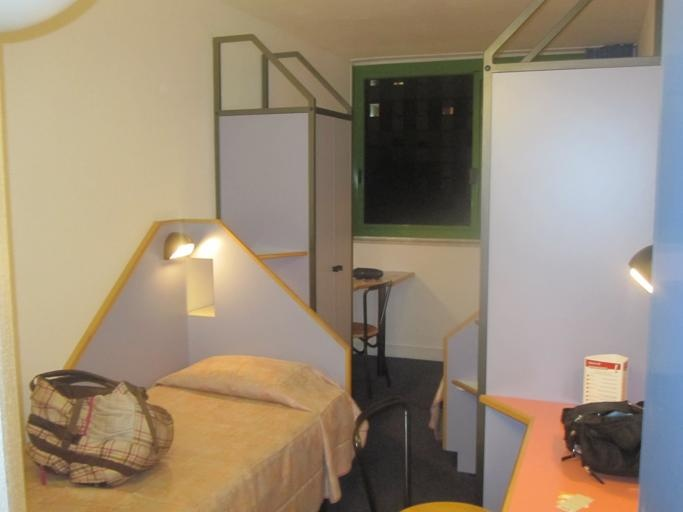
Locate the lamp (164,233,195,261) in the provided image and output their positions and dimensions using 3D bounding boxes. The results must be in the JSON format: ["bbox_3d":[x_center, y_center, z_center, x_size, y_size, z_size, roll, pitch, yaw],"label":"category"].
[{"bbox_3d":[-0.899,-0.050,3.128,0.047,0.138,0.149,3,-2,41],"label":"lamp"}]

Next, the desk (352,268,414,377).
[{"bbox_3d":[0.384,0.579,5.104,0.414,0.590,0.810,2,6,16],"label":"desk"}]

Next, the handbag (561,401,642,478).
[{"bbox_3d":[0.859,0.586,1.899,0.240,0.188,0.299,3,4,26],"label":"handbag"}]

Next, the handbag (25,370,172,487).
[{"bbox_3d":[-0.909,0.626,2.182,0.460,0.352,0.356,8,-3,1],"label":"handbag"}]
